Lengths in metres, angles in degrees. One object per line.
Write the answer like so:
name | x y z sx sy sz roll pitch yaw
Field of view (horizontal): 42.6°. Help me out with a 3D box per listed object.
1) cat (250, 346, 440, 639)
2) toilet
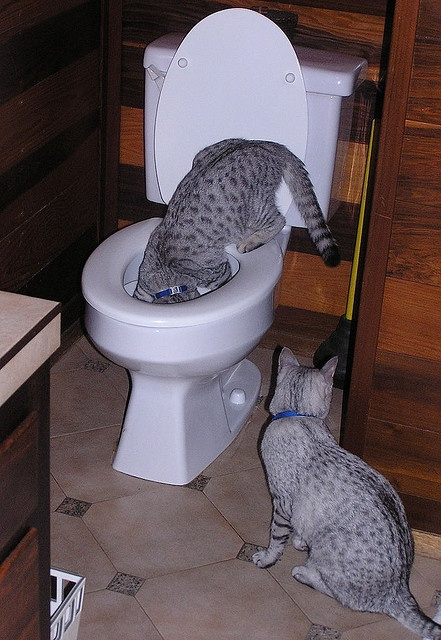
cat | 0.215 0.353 1.183 0.189 0.505 0.425 -17 35 -37
toilet | -0.026 -0.171 1.462 0.579 1.119 0.664 11 28 9
